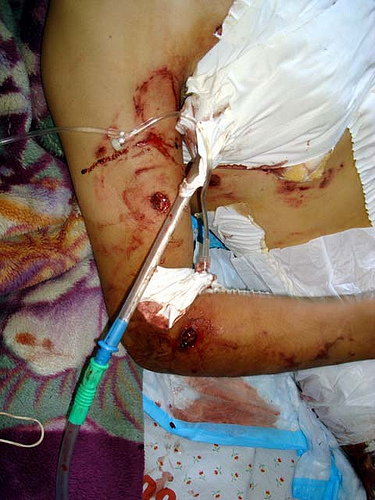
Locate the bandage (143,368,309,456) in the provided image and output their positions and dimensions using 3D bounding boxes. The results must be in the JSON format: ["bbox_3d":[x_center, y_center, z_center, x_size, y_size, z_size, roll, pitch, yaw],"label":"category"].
[{"bbox_3d":[0.111,0.433,1.171,0.424,0.070,0.248,8,81,-12],"label":"bandage"}]
